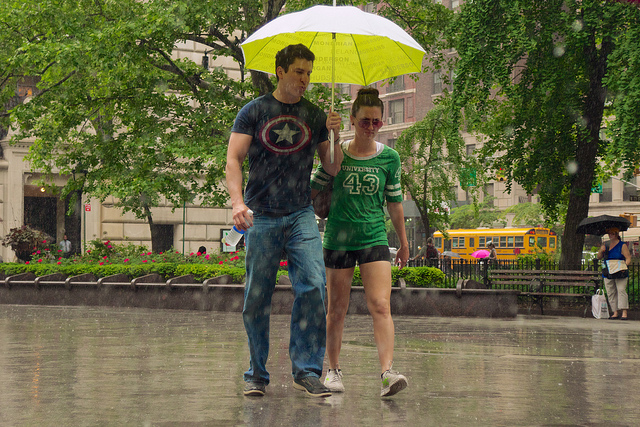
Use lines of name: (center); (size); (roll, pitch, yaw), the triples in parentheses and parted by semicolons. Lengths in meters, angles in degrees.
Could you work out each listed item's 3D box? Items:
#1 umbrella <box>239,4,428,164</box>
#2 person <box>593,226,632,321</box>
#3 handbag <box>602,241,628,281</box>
umbrella: (0.153, -2.292, 26.571); (2.966, 3.875, 5.125); (0, -4, -14)
person: (8.619, 1.771, 36.393); (1.155, 2.523, 0.897); (-5, -2, -17)
handbag: (8.650, 1.419, 36.186); (0.741, 1.163, 0.386); (-4, -6, 19)
